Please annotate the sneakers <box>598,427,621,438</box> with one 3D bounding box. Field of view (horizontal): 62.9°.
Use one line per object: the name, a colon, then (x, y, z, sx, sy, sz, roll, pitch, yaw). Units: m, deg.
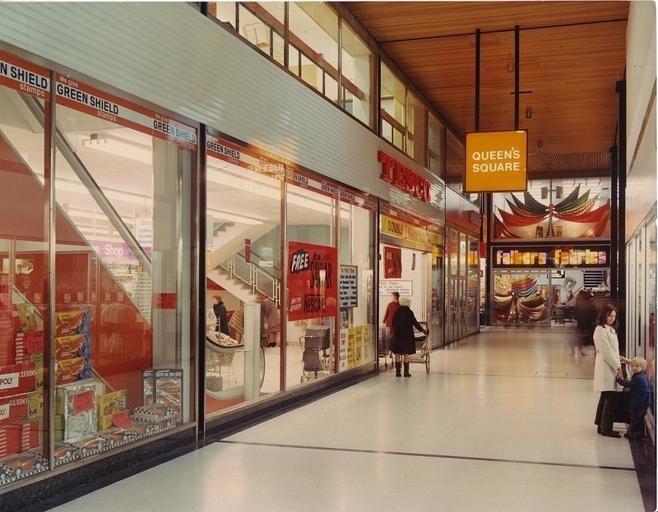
sneakers: (3.472, 2.179, 6.651, 0.238, 0.102, 0.084, -1, 0, 10)
